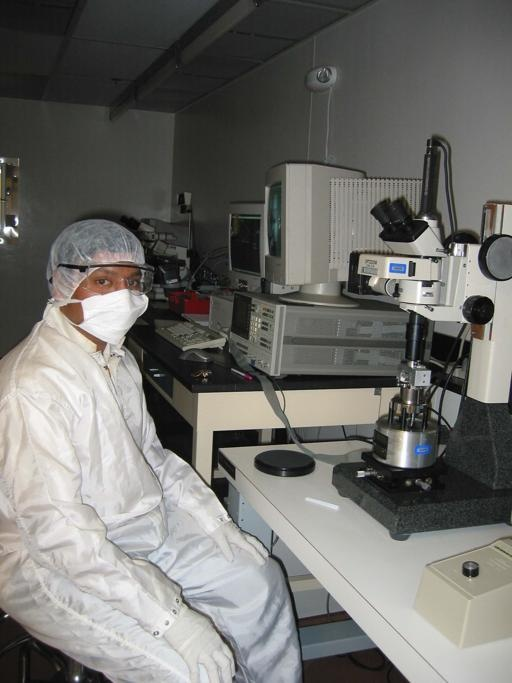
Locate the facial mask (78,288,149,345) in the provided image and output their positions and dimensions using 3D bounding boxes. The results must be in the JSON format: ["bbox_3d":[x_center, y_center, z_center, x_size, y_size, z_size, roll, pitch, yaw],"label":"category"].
[{"bbox_3d":[-0.340,-0.067,1.300,0.136,0.080,0.130,29,26,37],"label":"facial mask"}]

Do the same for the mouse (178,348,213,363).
[{"bbox_3d":[-0.216,0.047,1.965,0.087,0.026,0.054,5,9,26],"label":"mouse"}]

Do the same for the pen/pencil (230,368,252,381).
[{"bbox_3d":[-0.052,0.101,1.789,0.020,0.022,0.135,41,-15,-33],"label":"pen/pencil"}]
